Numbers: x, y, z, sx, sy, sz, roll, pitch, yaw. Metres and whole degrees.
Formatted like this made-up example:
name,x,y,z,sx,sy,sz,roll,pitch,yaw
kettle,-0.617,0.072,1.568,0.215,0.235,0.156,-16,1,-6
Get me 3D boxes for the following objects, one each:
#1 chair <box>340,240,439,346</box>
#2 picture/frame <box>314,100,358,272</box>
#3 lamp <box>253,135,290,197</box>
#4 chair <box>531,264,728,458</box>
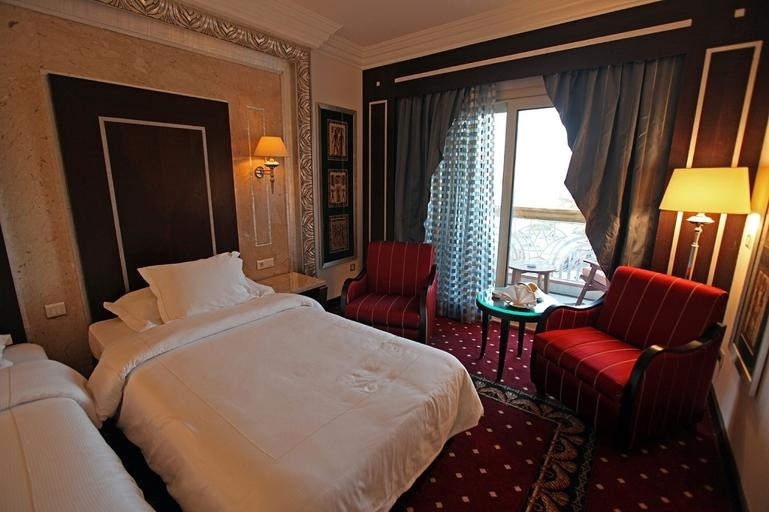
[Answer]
name,x,y,z,sx,sy,sz,roll,pitch,yaw
chair,0.119,0.399,5.446,1.058,1.294,0.988,7,13,17
picture/frame,-0.564,-0.823,6.016,0.127,1.830,0.618,7,14,29
lamp,-1.192,-0.951,5.219,0.343,0.576,0.398,-2,12,-13
chair,2.063,0.880,4.657,1.503,1.650,1.348,-6,18,-25
